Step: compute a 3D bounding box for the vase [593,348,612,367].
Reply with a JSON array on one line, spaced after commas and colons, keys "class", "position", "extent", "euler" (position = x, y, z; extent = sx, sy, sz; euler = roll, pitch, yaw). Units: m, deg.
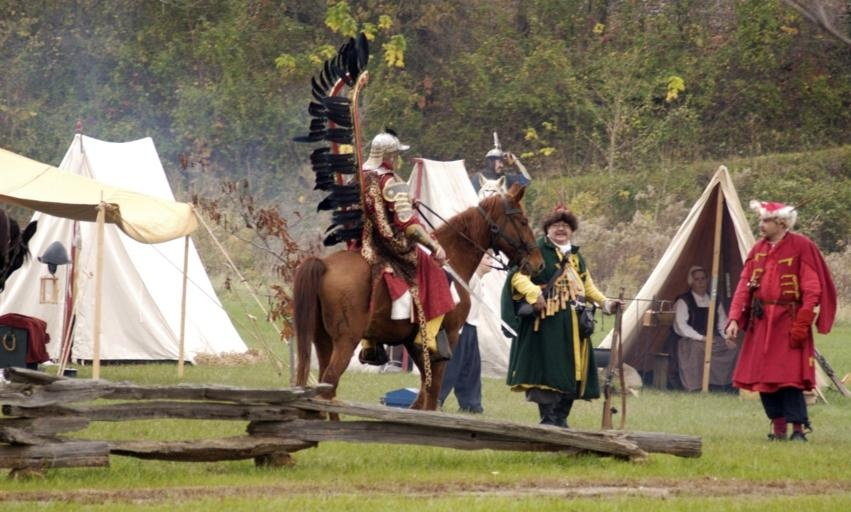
[{"class": "vase", "position": [5.342, 3.101, 58.343], "extent": [0.669, 0.573, 0.620], "euler": [1, -2, -13]}]
